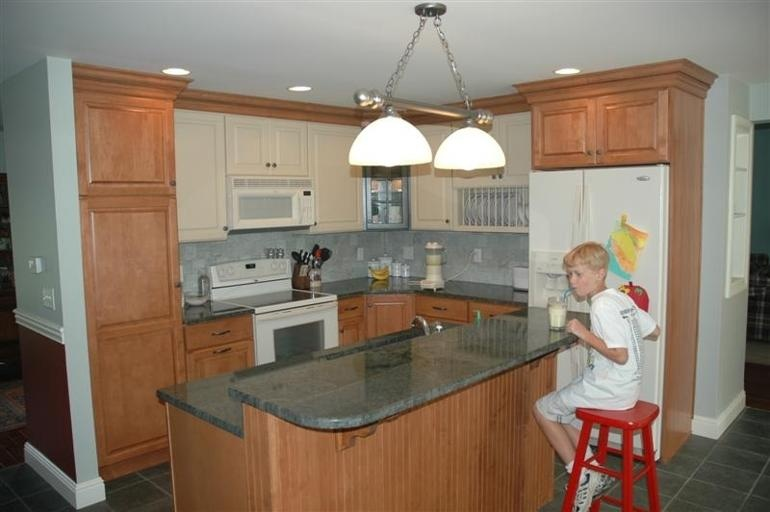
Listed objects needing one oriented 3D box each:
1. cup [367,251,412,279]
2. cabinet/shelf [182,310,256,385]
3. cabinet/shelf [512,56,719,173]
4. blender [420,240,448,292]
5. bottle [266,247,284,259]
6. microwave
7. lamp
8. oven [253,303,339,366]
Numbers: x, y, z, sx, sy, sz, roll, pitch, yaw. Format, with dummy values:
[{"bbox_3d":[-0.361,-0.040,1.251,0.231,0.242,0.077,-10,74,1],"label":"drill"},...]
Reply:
[{"bbox_3d":[0.051,0.126,6.396,0.363,0.202,0.312,0,-3,9],"label":"cup"},{"bbox_3d":[-1.421,0.772,4.866,0.535,0.744,0.577,3,5,42],"label":"cabinet/shelf"},{"bbox_3d":[1.750,-1.114,4.367,1.529,0.880,0.813,0,0,39],"label":"cabinet/shelf"},{"bbox_3d":[0.509,0.104,5.812,0.261,0.470,0.539,-3,5,5],"label":"blender"},{"bbox_3d":[-1.117,-0.027,5.708,0.232,0.109,0.079,-6,6,-35],"label":"bottle"},{"bbox_3d":[-1.071,-0.514,5.278,0.204,0.482,0.879,2,7,41],"label":"microwave"},{"bbox_3d":[0.334,-1.184,3.713,1.232,0.962,0.518,0,1,-39],"label":"lamp"},{"bbox_3d":[-0.927,0.739,5.282,0.873,0.564,0.571,-7,9,-35],"label":"oven"}]
